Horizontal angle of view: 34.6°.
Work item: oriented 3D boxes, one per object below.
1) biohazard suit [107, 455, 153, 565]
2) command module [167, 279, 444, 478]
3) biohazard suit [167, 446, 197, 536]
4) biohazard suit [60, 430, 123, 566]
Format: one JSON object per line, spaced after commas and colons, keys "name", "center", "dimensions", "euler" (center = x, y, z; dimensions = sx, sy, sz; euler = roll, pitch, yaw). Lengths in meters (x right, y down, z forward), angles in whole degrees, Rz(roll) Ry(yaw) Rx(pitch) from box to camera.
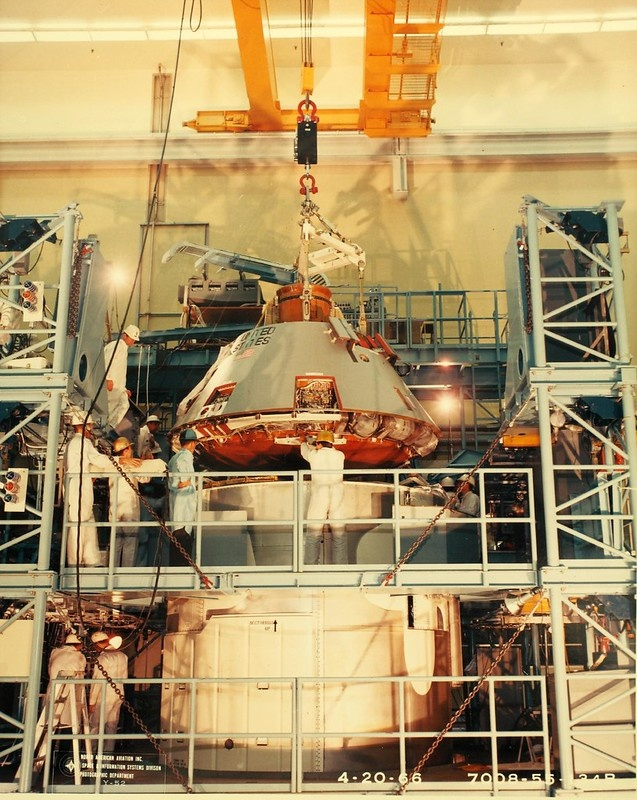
{"name": "biohazard suit", "center": [-3.092, 1.693, 16.397], "dimensions": [0.778, 1.944, 0.778], "euler": [2, 1, -9]}
{"name": "command module", "center": [-0.163, -0.449, 18.044], "dimensions": [4.647, 3.257, 4.900], "euler": [-1, -1, 0]}
{"name": "biohazard suit", "center": [-2.130, 1.426, 15.788], "dimensions": [0.453, 1.285, 0.565], "euler": [4, 1, -16]}
{"name": "biohazard suit", "center": [-3.656, 1.504, 15.733], "dimensions": [0.910, 1.912, 1.277], "euler": [4, 3, -9]}
